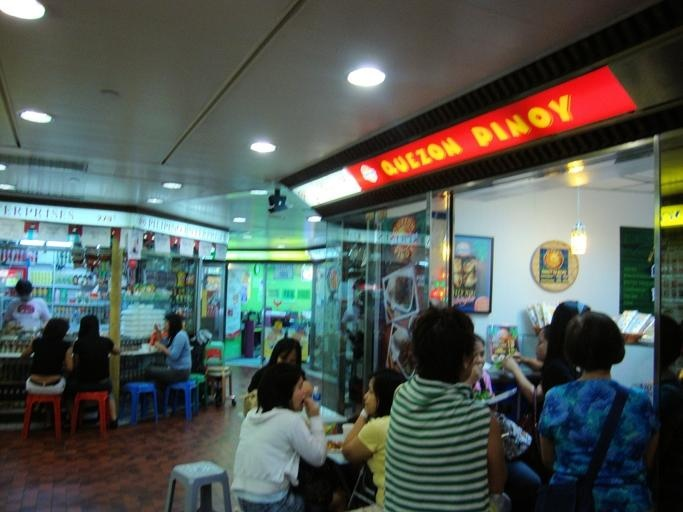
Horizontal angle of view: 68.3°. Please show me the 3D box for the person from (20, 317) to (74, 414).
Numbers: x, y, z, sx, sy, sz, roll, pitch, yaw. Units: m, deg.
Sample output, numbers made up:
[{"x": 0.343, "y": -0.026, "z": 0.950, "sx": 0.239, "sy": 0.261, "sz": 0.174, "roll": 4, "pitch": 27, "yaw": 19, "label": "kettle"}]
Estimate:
[{"x": -3.747, "y": 1.320, "z": 6.515, "sx": 0.501, "sy": 0.945, "sz": 0.314, "roll": 6, "pitch": -4, "yaw": -31, "label": "person"}]

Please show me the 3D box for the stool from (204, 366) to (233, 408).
[{"x": -2.124, "y": 2.269, "z": 8.887, "sx": 0.552, "sy": 0.758, "sz": 0.604, "roll": -2, "pitch": -8, "yaw": 3, "label": "stool"}]

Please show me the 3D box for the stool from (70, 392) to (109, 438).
[{"x": -3.428, "y": 2.140, "z": 6.910, "sx": 0.564, "sy": 0.642, "sz": 0.606, "roll": 4, "pitch": -17, "yaw": -18, "label": "stool"}]

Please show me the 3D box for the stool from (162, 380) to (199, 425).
[{"x": -2.503, "y": 2.277, "z": 8.051, "sx": 0.572, "sy": 0.709, "sz": 0.579, "roll": 7, "pitch": -12, "yaw": -38, "label": "stool"}]

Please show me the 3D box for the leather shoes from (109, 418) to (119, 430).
[{"x": -3.225, "y": 2.360, "z": 7.138, "sx": 0.107, "sy": 0.144, "sz": 0.114, "roll": 2, "pitch": -1, "yaw": -20, "label": "leather shoes"}]

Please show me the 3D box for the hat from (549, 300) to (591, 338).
[{"x": 1.511, "y": 0.419, "z": 3.346, "sx": 0.153, "sy": 0.311, "sz": 0.221, "roll": 18, "pitch": -17, "yaw": 37, "label": "hat"}]
